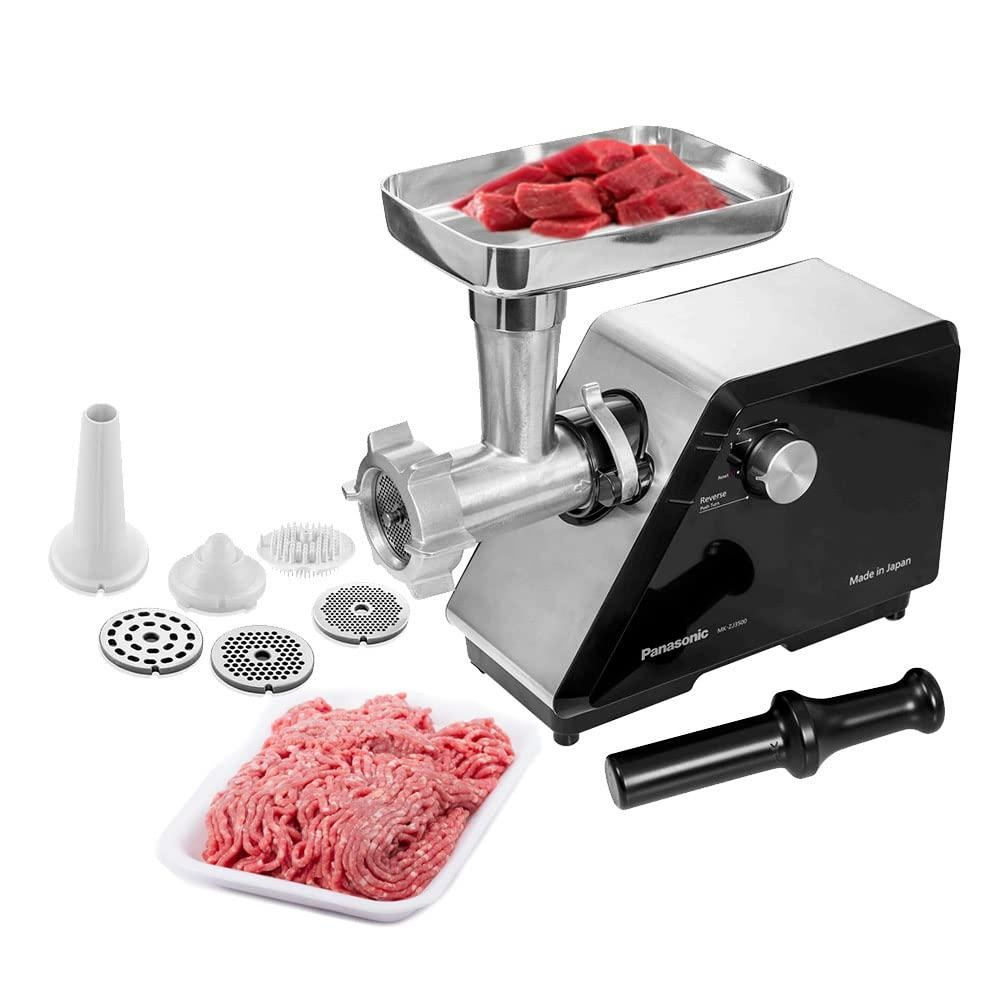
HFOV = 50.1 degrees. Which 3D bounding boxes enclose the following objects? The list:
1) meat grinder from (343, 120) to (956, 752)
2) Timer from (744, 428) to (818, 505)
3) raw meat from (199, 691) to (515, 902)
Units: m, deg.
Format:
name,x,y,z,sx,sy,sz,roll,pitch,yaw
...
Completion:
name,x,y,z,sx,sy,sz,roll,pitch,yaw
meat grinder,0.249,-0.085,1.764,1.001,0.757,0.465,-15,25,-32
Timer,0.438,-0.051,1.645,0.131,0.105,0.071,-11,23,-29
raw meat,-0.186,0.399,1.506,0.386,0.107,0.416,3,22,17
